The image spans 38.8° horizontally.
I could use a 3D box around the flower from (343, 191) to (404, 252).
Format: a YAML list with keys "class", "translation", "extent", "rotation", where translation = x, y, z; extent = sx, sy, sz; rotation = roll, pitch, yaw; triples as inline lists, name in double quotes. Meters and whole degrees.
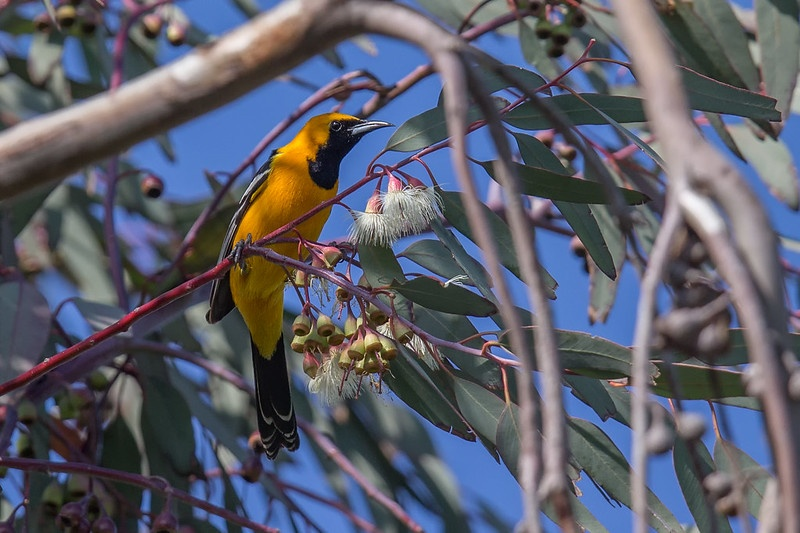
- class: "flower"
  translation: [-0.091, -0.187, 4.289]
  extent: [0.183, 0.210, 0.233]
  rotation: [-2, -87, -12]

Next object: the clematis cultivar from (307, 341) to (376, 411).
- class: "clematis cultivar"
  translation: [-0.228, 0.449, 4.455]
  extent: [0.221, 0.238, 0.138]
  rotation: [22, -23, 24]

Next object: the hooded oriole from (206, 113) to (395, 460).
- class: "hooded oriole"
  translation: [-0.446, -0.070, 5.498]
  extent: [0.727, 0.897, 1.970]
  rotation: [6, -89, -23]
